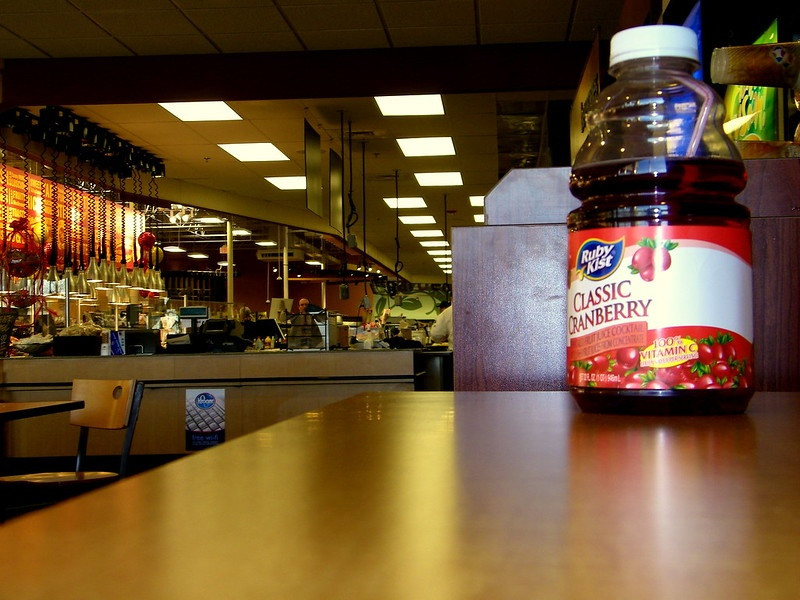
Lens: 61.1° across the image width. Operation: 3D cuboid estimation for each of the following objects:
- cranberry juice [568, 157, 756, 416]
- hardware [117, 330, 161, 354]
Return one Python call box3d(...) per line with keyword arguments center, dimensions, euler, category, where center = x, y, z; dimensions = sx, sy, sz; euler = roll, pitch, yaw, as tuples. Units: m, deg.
box3d(center=(0.278, -0.030, 0.755), dimensions=(0.200, 0.284, 0.233), euler=(0, 1, 22), category="cranberry juice")
box3d(center=(-2.490, 0.391, 6.464), dimensions=(0.223, 0.240, 0.395), euler=(9, 5, 44), category="hardware")
